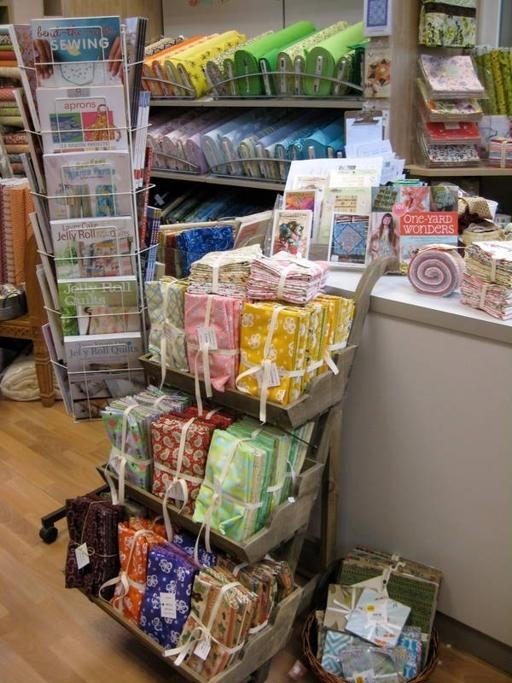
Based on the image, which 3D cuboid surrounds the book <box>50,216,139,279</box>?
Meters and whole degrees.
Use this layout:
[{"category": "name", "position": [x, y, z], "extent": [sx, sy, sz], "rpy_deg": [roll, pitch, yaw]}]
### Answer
[{"category": "book", "position": [-0.505, -0.296, 1.680], "extent": [0.214, 0.148, 0.029], "rpy_deg": [0, 23, 1]}]

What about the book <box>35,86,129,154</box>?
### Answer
[{"category": "book", "position": [-0.503, -0.649, 1.568], "extent": [0.218, 0.147, 0.031], "rpy_deg": [0, 26, 4]}]

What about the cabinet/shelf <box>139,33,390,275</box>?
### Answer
[{"category": "cabinet/shelf", "position": [0.101, -1.269, 3.459], "extent": [1.209, 0.530, 1.654], "rpy_deg": [14, 31, 25]}]

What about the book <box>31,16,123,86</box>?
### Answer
[{"category": "book", "position": [-0.499, -0.820, 1.523], "extent": [0.215, 0.146, 0.026], "rpy_deg": [2, 25, 7]}]

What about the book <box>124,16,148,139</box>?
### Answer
[{"category": "book", "position": [-0.354, -0.790, 1.613], "extent": [0.074, 0.303, 0.185], "rpy_deg": [-6, 19, -11]}]

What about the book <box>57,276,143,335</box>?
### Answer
[{"category": "book", "position": [-0.504, -0.118, 1.732], "extent": [0.202, 0.139, 0.030], "rpy_deg": [2, 24, 4]}]

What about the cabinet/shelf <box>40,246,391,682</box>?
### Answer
[{"category": "cabinet/shelf", "position": [-0.137, 0.332, 1.613], "extent": [0.768, 1.097, 0.906], "rpy_deg": [10, 22, 32]}]

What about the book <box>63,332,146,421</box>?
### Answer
[{"category": "book", "position": [-0.486, 0.103, 1.767], "extent": [0.322, 0.356, 0.066], "rpy_deg": [-1, 29, -5]}]
